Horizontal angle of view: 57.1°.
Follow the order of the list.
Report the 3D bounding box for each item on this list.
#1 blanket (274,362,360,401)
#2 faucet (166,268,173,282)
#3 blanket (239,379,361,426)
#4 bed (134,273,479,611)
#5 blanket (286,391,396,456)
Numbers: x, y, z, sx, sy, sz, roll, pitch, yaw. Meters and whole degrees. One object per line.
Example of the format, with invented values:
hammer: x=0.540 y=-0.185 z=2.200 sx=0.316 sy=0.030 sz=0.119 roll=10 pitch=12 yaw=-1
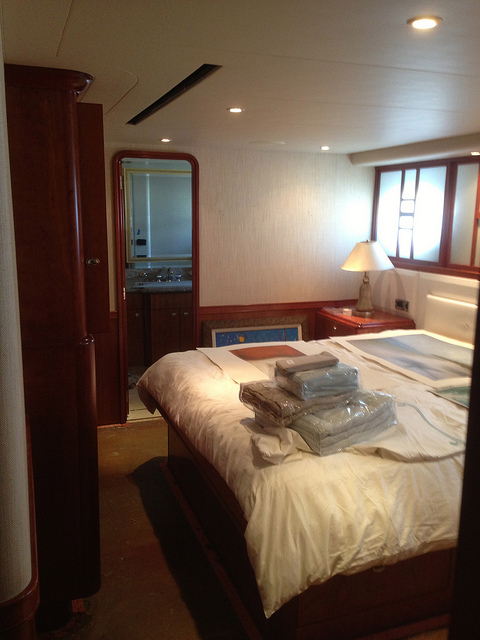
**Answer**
blanket: x=0.363 y=0.305 z=2.154 sx=0.430 sy=0.149 sz=0.431 roll=-3 pitch=-5 yaw=-41
faucet: x=-0.902 y=-0.576 z=5.656 sx=0.087 sy=0.158 sz=0.039 roll=-4 pitch=11 yaw=-14
blanket: x=0.260 y=0.368 z=1.967 sx=0.241 sy=0.099 sz=0.270 roll=-2 pitch=3 yaw=-31
bed: x=0.327 y=0.583 z=2.300 sx=1.246 sy=0.692 sz=1.461 roll=0 pitch=13 yaw=-21
blanket: x=0.473 y=0.445 z=1.910 sx=0.252 sy=0.106 sz=0.273 roll=-8 pitch=0 yaw=-26
